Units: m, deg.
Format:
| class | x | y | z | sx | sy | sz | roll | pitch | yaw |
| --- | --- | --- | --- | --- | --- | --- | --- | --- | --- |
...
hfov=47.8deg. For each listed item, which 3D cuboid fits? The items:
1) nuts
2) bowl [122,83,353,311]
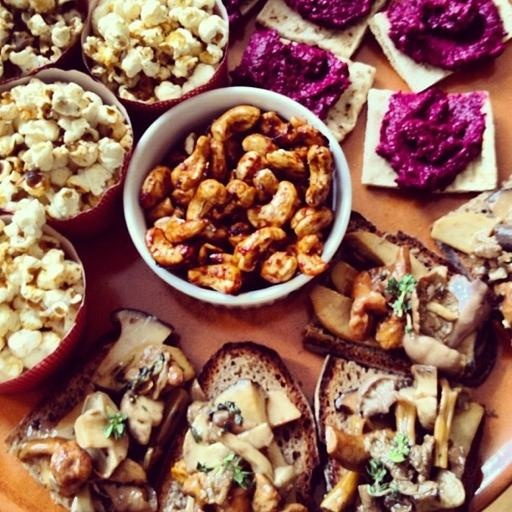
| class | x | y | z | sx | sy | sz | roll | pitch | yaw |
| --- | --- | --- | --- | --- | --- | --- | --- | --- | --- |
| nuts | -0.044 | -0.149 | 1.429 | 0.482 | 0.255 | 0.492 | -8 | 66 | -10 |
| bowl | -0.065 | -0.111 | 1.666 | 0.619 | 0.227 | 0.552 | -7 | 86 | 5 |
